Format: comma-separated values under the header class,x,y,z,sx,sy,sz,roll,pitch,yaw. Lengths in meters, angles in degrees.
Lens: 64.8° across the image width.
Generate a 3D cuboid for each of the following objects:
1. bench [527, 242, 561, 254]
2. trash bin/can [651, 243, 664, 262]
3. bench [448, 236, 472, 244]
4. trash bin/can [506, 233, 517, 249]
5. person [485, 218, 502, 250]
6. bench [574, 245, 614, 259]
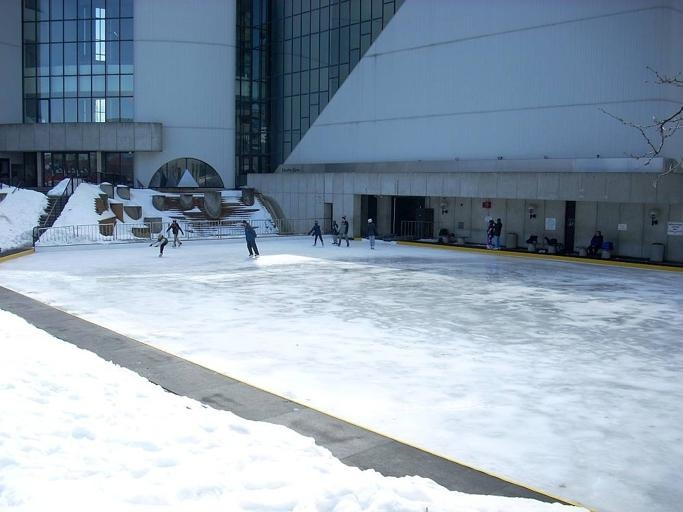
class,x,y,z,sx,sy,sz,roll,pitch,yaw
bench,12.273,-0.500,32.701,1.737,0.550,2.402,2,5,26
trash bin/can,16.749,-0.189,28.644,0.912,0.924,0.568,-2,5,-16
bench,8.242,-1.124,37.583,1.322,0.409,0.603,1,5,11
trash bin/can,10.955,-0.987,34.893,0.682,0.937,0.564,2,5,27
person,9.458,-1.367,33.559,0.720,1.871,1.065,1,5,13
bench,14.388,-0.243,30.779,1.940,0.536,3.183,2,5,24
